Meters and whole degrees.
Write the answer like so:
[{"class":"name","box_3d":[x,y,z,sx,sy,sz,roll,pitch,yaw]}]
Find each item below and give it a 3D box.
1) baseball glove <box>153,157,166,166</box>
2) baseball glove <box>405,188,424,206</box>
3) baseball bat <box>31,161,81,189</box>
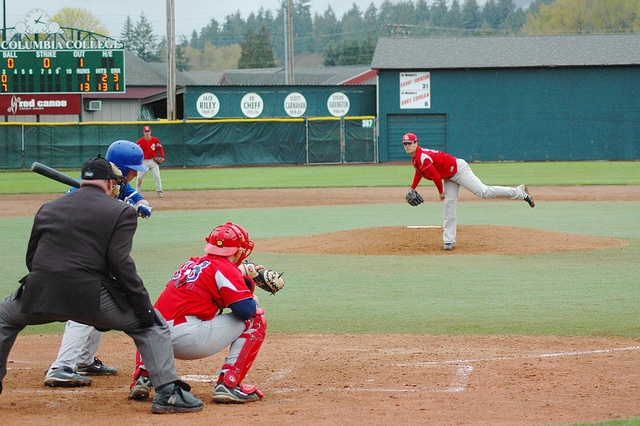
[{"class":"baseball glove","box_3d":[-5.337,-1.790,35.483,0.288,0.082,0.355,8,-9,28]},{"class":"baseball glove","box_3d":[2.563,-0.485,28.300,0.186,0.381,0.523,-49,35,-13]},{"class":"baseball bat","box_3d":[-5.642,-0.802,22.398,0.217,0.158,1.369,-11,-21,28]}]
